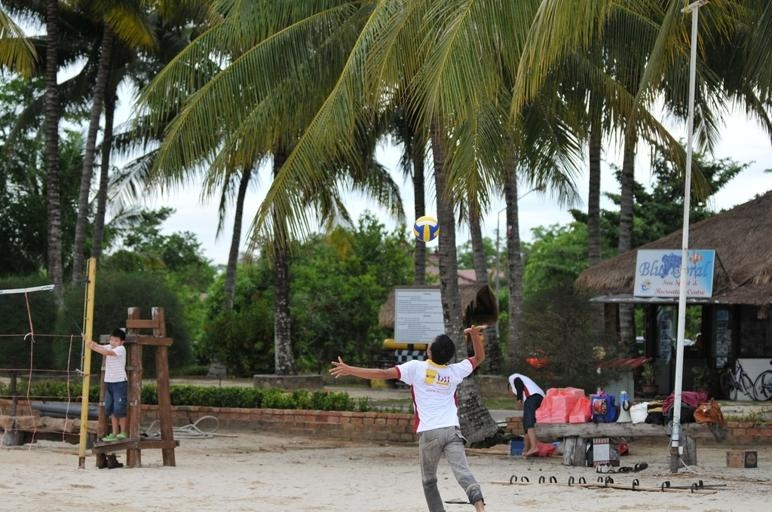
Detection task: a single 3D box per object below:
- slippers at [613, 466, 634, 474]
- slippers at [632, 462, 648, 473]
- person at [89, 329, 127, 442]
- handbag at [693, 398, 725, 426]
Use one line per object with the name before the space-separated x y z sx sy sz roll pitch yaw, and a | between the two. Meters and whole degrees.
slippers | 6.514 5.795 46.961 0.512 0.177 0.254 -3 -10 9
slippers | 6.966 5.713 46.992 0.458 0.187 0.188 -22 -25 35
person | -7.441 3.527 47.422 0.741 3.055 0.916 1 -9 -14
handbag | 8.998 4.306 48.013 0.627 0.692 0.633 2 1 43
